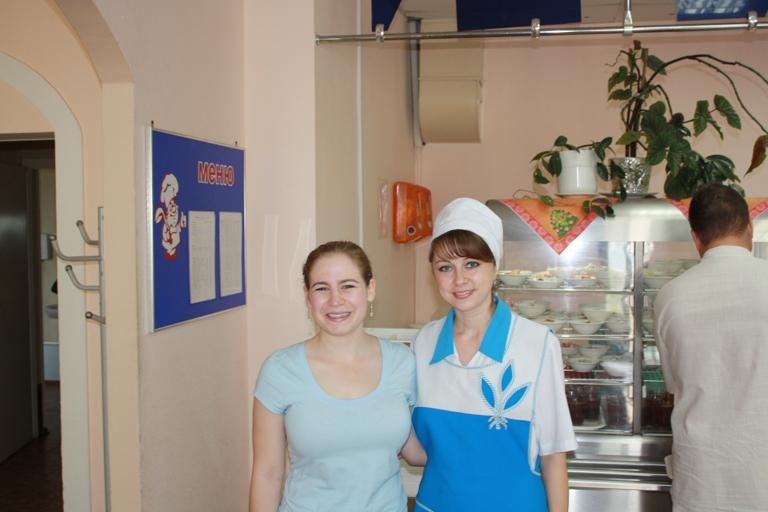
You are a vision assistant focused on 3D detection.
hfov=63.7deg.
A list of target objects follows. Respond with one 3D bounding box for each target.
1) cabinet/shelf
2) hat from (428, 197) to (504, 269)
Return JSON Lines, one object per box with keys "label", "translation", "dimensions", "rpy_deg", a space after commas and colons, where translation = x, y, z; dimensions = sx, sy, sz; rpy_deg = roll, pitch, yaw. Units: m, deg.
{"label": "cabinet/shelf", "translation": [1.342, 0.322, 3.262], "dimensions": [1.435, 1.254, 0.519], "rpy_deg": [-1, -2, 6]}
{"label": "hat", "translation": [0.371, -0.135, 2.655], "dimensions": [0.241, 0.317, 0.286], "rpy_deg": [-6, 37, 13]}
